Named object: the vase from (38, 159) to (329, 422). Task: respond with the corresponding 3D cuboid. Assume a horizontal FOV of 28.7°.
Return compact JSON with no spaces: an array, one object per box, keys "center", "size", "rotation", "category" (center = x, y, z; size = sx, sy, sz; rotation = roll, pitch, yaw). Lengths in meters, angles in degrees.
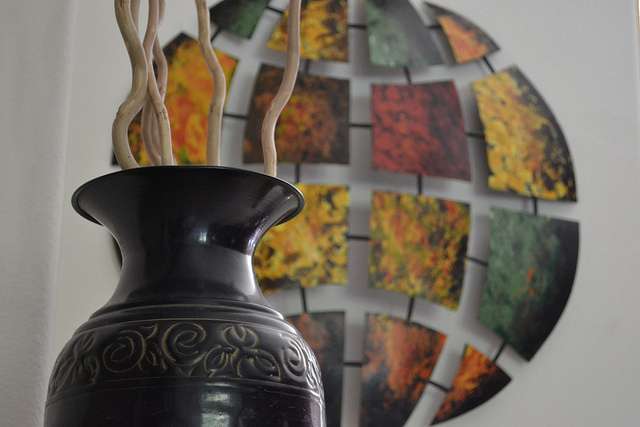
[{"center":[-0.314,0.210,2.699],"size":[0.515,0.586,0.518],"rotation":[6,-13,-23],"category":"vase"}]
